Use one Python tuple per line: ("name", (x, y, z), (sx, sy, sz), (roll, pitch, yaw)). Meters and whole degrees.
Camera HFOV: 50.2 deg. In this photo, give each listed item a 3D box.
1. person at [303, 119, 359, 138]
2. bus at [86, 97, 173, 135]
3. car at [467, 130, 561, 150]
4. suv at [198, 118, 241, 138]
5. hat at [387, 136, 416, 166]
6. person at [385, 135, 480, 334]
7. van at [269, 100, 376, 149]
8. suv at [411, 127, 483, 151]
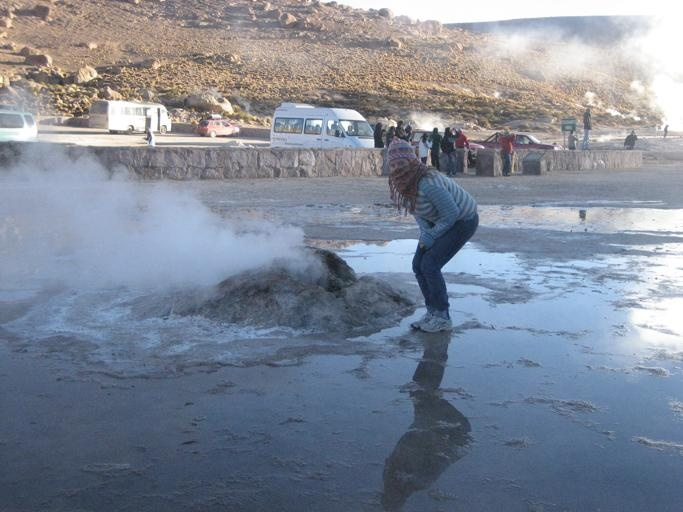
("person", (-0.262, -4.423, 24.999), (1.766, 0.606, 1.007), (8, 13, 40))
("bus", (-13.098, -8.688, 45.261), (3.956, 2.036, 2.099), (-6, 12, -31))
("car", (7.176, -4.576, 29.071), (4.448, 0.966, 1.662), (1, 11, 8))
("suv", (-7.671, -8.120, 45.991), (2.754, 0.763, 1.494), (-12, 20, -43))
("hat", (0.439, -0.837, 5.753), (0.264, 0.196, 0.236), (2, 13, 29))
("person", (0.712, -0.165, 5.819), (0.722, 1.531, 0.402), (2, 13, 7))
("van", (-0.873, -4.596, 25.361), (3.980, 1.420, 2.002), (7, 11, 39))
("suv", (3.838, -4.088, 26.734), (3.128, 1.095, 1.413), (-1, 14, 8))
